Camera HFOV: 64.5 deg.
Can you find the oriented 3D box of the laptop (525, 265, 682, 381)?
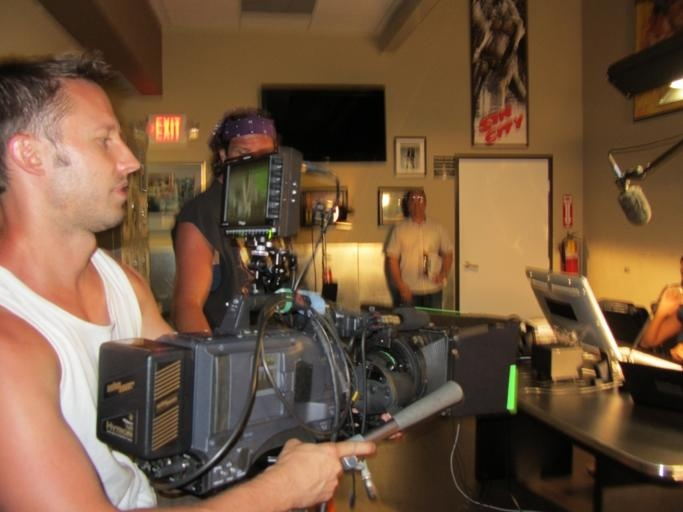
[{"bbox_3d":[1.216,0.263,2.560,0.459,0.471,0.573,-9,3,-13],"label":"laptop"}]

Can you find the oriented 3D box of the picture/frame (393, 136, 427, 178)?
[{"bbox_3d":[0.682,-1.007,5.518,0.390,0.488,0.047,1,0,-15],"label":"picture/frame"}]

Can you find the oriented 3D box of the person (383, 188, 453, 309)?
[{"bbox_3d":[0.751,-0.043,5.139,0.613,1.118,0.372,-4,5,-30],"label":"person"}]

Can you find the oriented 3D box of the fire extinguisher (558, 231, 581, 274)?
[{"bbox_3d":[2.461,-0.004,5.826,0.148,0.413,0.039,1,-9,3],"label":"fire extinguisher"}]

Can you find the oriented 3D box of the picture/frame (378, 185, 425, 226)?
[{"bbox_3d":[0.615,-0.482,5.455,0.477,0.448,0.039,0,-19,6],"label":"picture/frame"}]

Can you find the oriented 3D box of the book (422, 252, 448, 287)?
[{"bbox_3d":[0.890,0.139,5.081,0.258,0.294,0.100,-2,-9,28],"label":"book"}]
